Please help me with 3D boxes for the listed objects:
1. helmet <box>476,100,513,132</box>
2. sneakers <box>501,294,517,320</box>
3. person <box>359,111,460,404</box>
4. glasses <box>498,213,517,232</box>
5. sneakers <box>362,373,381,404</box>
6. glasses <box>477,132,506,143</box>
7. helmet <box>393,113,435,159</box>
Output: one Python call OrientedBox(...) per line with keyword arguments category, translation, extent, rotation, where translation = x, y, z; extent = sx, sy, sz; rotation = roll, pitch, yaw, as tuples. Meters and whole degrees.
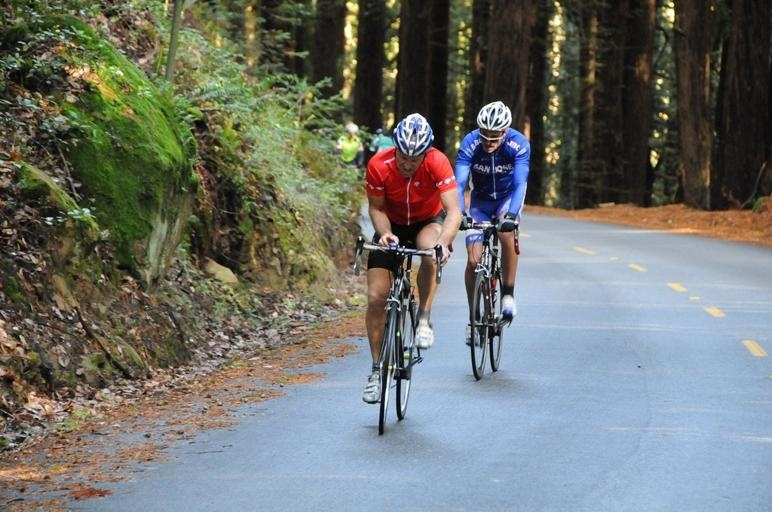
OrientedBox(category="helmet", translation=(1.400, -1.775, 14.522), extent=(0.378, 0.363, 0.341), rotation=(3, 12, 16))
OrientedBox(category="sneakers", translation=(1.615, 0.721, 14.868), extent=(0.176, 0.347, 0.296), rotation=(0, 11, 4))
OrientedBox(category="person", translation=(0.297, 0.046, 12.892), extent=(1.067, 3.313, 1.467), rotation=(1, 11, 9))
OrientedBox(category="glasses", translation=(1.571, -0.417, 14.374), extent=(0.167, 0.092, 0.252), rotation=(0, 23, 6))
OrientedBox(category="sneakers", translation=(-0.128, 1.464, 12.507), extent=(0.200, 0.295, 0.188), rotation=(4, 12, 20))
OrientedBox(category="glasses", translation=(1.373, -1.519, 14.580), extent=(0.308, 0.120, 0.165), rotation=(2, 11, 9))
OrientedBox(category="helmet", translation=(0.298, -1.298, 12.404), extent=(0.362, 0.487, 0.270), rotation=(5, 4, -2))
